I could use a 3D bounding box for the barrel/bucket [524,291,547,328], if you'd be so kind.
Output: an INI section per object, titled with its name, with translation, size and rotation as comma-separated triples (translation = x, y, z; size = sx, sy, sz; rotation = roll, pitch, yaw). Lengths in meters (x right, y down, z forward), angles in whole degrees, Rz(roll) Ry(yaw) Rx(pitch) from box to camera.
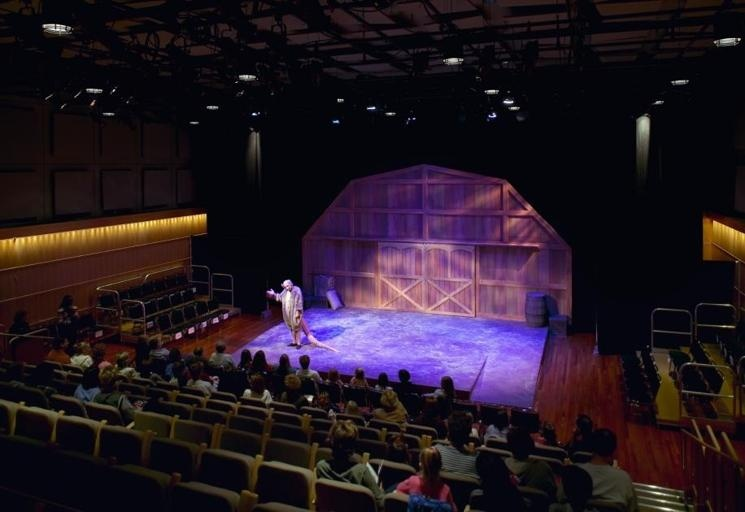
[barrel/bucket]
translation = 5.197, 1.682, 17.361
size = 0.844, 1.002, 0.870
rotation = -3, 10, 0
